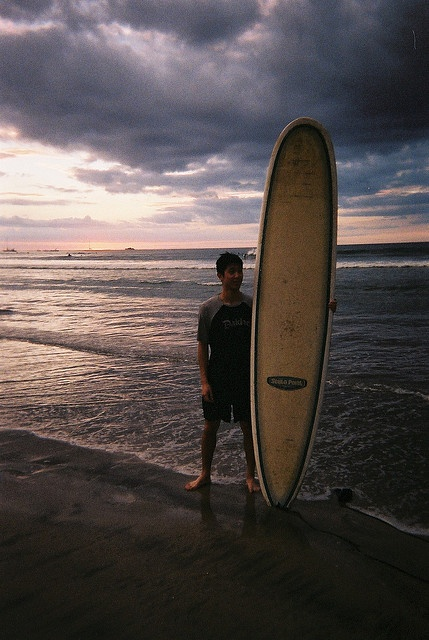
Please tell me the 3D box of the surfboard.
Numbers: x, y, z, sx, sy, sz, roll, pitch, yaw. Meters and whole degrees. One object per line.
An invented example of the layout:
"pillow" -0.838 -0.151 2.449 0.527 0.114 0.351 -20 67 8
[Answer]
"surfboard" 0.427 -0.082 2.813 0.450 2.283 0.245 0 3 2
